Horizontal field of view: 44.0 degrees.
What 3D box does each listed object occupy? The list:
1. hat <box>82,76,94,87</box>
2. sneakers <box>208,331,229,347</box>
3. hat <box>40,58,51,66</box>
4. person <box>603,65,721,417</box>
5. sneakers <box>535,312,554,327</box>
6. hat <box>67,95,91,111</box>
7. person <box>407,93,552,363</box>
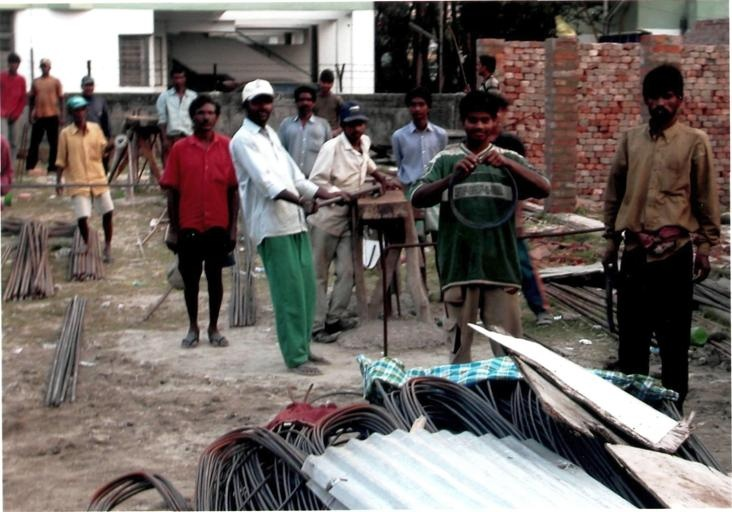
[{"bbox_3d":[-4.353,-2.730,14.186,0.178,0.147,0.291,-3,10,-18],"label":"hat"},{"bbox_3d":[-1.591,0.898,9.841,0.209,0.153,0.135,6,23,8],"label":"sneakers"},{"bbox_3d":[-5.703,-3.442,16.121,0.168,0.126,0.200,1,28,-6],"label":"hat"},{"bbox_3d":[2.388,-0.174,7.450,0.930,2.729,0.441,5,11,28],"label":"person"},{"bbox_3d":[2.011,0.683,10.239,0.176,0.088,0.238,-2,17,18],"label":"sneakers"},{"bbox_3d":[-3.894,-2.056,12.217,0.231,0.190,0.336,-3,10,-16],"label":"hat"},{"bbox_3d":[0.942,0.012,7.482,1.019,2.621,0.735,-3,14,3],"label":"person"}]
